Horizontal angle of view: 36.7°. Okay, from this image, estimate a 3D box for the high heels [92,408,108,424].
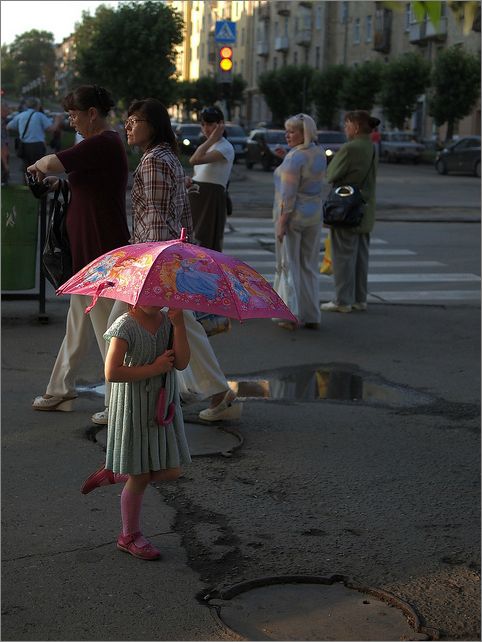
[{"bbox_3d":[-0.825,0.572,4.344,0.142,0.051,0.062,4,7,7],"label":"high heels"}]

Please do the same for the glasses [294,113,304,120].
[{"bbox_3d":[0.538,-1.854,6.598,0.102,0.081,0.025,-6,-35,23],"label":"glasses"}]

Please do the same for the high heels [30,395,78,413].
[{"bbox_3d":[-1.179,0.516,4.561,0.222,0.069,0.108,5,2,1],"label":"high heels"}]

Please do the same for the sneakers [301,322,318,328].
[{"bbox_3d":[0.673,0.044,7.078,0.049,0.050,0.130,-20,30,-39],"label":"sneakers"}]

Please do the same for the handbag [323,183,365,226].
[{"bbox_3d":[1.054,-1.204,7.492,0.458,0.414,0.257,8,14,34],"label":"handbag"}]

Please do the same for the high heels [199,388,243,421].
[{"bbox_3d":[-0.160,0.529,4.516,0.375,0.222,0.126,-3,3,24],"label":"high heels"}]

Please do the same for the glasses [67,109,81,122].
[{"bbox_3d":[-0.951,-1.188,4.194,0.025,0.068,0.073,7,0,-41],"label":"glasses"}]

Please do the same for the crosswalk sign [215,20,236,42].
[{"bbox_3d":[-0.352,-6.751,16.949,0.437,0.669,0.915,0,10,-5],"label":"crosswalk sign"}]

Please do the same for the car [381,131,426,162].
[{"bbox_3d":[9.270,-10.020,41.716,1.772,1.809,2.661,-1,11,-10],"label":"car"}]

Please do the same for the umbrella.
[{"bbox_3d":[-0.206,-0.156,2.592,0.839,0.339,0.585,0,10,-6],"label":"umbrella"}]

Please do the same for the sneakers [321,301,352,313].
[{"bbox_3d":[1.036,-0.139,7.951,0.348,0.142,0.123,11,26,27],"label":"sneakers"}]

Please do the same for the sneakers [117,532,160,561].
[{"bbox_3d":[-0.390,0.836,2.757,0.170,0.064,0.074,13,20,29],"label":"sneakers"}]

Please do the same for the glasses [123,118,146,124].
[{"bbox_3d":[-0.569,-1.068,3.869,0.079,0.022,0.073,3,6,-20],"label":"glasses"}]
